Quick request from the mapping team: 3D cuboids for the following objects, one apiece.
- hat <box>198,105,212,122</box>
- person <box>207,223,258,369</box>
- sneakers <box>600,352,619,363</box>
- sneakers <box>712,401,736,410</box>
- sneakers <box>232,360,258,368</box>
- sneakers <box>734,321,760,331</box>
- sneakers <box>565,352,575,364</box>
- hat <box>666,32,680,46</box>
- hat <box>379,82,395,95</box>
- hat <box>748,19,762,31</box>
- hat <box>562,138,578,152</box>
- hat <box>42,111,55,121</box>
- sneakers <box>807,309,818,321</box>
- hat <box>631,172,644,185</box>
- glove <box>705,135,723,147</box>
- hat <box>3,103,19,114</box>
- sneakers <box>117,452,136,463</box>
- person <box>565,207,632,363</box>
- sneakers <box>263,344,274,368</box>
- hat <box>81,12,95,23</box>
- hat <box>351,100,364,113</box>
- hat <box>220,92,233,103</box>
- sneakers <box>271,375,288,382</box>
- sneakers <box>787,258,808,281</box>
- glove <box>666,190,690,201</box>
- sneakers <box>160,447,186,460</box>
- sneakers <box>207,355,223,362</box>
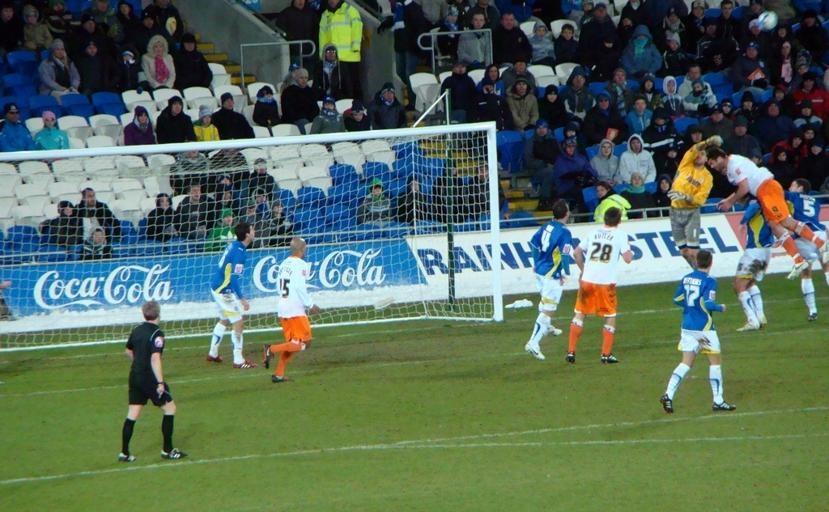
[{"bbox_3d":[-4.992,-3.432,32.962,0.301,0.319,0.399,-6,6,-31],"label":"hat"},{"bbox_3d":[-3.793,0.815,28.232,1.001,2.975,1.121,-6,7,-22],"label":"person"},{"bbox_3d":[3.957,2.046,27.421,0.426,0.203,0.153,-1,5,-12],"label":"sneakers"},{"bbox_3d":[5.781,2.799,25.641,0.447,0.204,0.161,-1,6,-2],"label":"sneakers"},{"bbox_3d":[-3.489,2.207,28.184,0.480,0.202,0.170,-1,4,-5],"label":"sneakers"},{"bbox_3d":[6.932,1.460,28.501,0.525,0.225,0.188,0,7,16],"label":"sneakers"},{"bbox_3d":[3.126,2.034,27.409,0.165,0.192,0.208,1,-7,1],"label":"sneakers"},{"bbox_3d":[6.980,-5.880,36.849,0.350,0.135,0.345,1,42,-18],"label":"hat"},{"bbox_3d":[-0.658,-4.171,34.127,0.297,0.316,0.413,1,8,-9],"label":"hat"},{"bbox_3d":[9.236,-6.278,37.060,0.277,0.334,0.266,7,42,13],"label":"hat"},{"bbox_3d":[3.755,-2.686,33.170,0.266,0.351,0.357,4,-22,-6],"label":"hat"},{"bbox_3d":[-8.608,-3.304,32.305,0.213,0.223,0.286,0,6,-20],"label":"hat"},{"bbox_3d":[8.393,1.250,28.838,0.112,0.134,0.316,0,7,3],"label":"sneakers"},{"bbox_3d":[5.367,-1.838,32.996,0.234,0.255,0.319,-1,-10,7],"label":"hat"},{"bbox_3d":[6.169,-2.401,28.033,0.298,0.200,0.428,-5,-5,33],"label":"glove"},{"bbox_3d":[-9.394,-3.441,31.907,0.294,0.222,0.225,-1,3,43],"label":"hat"},{"bbox_3d":[-5.278,3.707,25.198,0.359,0.162,0.130,3,16,-23],"label":"sneakers"},{"bbox_3d":[3.661,0.606,27.235,1.311,3.088,0.609,-3,6,6],"label":"person"},{"bbox_3d":[-2.897,1.965,27.307,0.261,0.530,0.193,4,7,0],"label":"sneakers"},{"bbox_3d":[-8.169,-5.920,34.104,0.326,0.303,0.287,-3,8,9],"label":"hat"},{"bbox_3d":[-1.396,-3.628,33.781,0.251,0.292,0.348,0,-36,-4],"label":"hat"},{"bbox_3d":[-4.539,-3.833,33.205,0.215,0.214,0.284,-2,-5,-22],"label":"hat"},{"bbox_3d":[-2.688,2.418,27.335,0.336,0.150,0.118,-3,24,-22],"label":"sneakers"},{"bbox_3d":[8.325,0.312,29.687,0.209,0.277,0.608,-35,-8,-27],"label":"sneakers"},{"bbox_3d":[5.614,-1.273,28.993,0.309,0.082,0.187,8,14,-6],"label":"glove"},{"bbox_3d":[-4.416,3.622,25.172,0.515,0.235,0.184,1,10,-3],"label":"sneakers"},{"bbox_3d":[-4.156,2.135,28.502,0.274,0.121,0.122,-1,14,-22],"label":"sneakers"}]
